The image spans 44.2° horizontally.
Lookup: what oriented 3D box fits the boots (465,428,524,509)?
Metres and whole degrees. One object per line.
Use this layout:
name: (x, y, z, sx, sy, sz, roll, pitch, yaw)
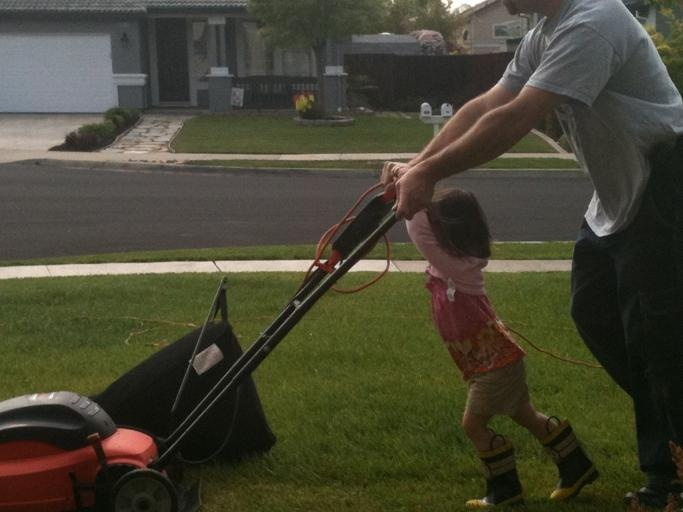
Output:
boots: (0.842, 1.141, 4.524, 0.383, 0.591, 0.223, -1, 3, 9)
